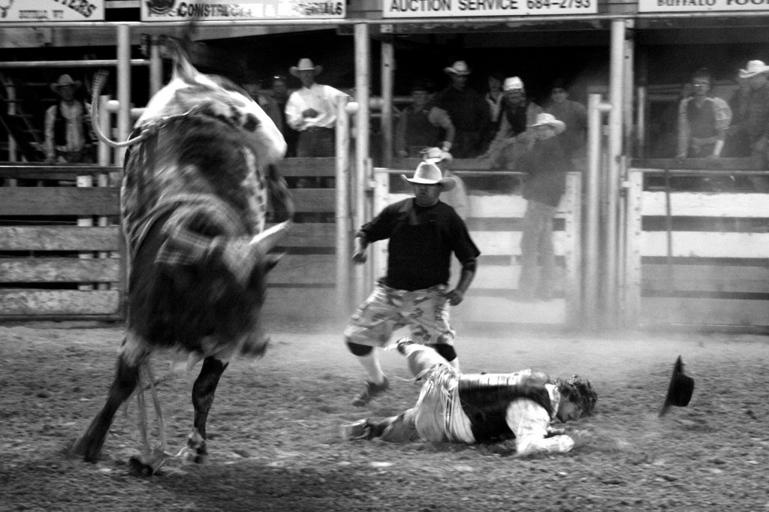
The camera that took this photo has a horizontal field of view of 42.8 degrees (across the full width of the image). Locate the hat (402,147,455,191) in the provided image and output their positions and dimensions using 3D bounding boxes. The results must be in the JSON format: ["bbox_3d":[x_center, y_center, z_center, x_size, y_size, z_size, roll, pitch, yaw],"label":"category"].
[{"bbox_3d":[0.447,-0.751,8.477,0.519,0.219,0.629,24,-5,-1],"label":"hat"}]

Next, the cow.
[{"bbox_3d":[-1.339,0.110,6.824,1.297,2.565,1.294,-1,15,-6],"label":"cow"}]

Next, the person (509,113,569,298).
[{"bbox_3d":[1.717,-0.545,10.847,0.509,2.022,0.461,3,16,7],"label":"person"}]

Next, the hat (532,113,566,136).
[{"bbox_3d":[1.813,-1.451,10.834,0.297,0.250,0.389,10,15,35],"label":"hat"}]
